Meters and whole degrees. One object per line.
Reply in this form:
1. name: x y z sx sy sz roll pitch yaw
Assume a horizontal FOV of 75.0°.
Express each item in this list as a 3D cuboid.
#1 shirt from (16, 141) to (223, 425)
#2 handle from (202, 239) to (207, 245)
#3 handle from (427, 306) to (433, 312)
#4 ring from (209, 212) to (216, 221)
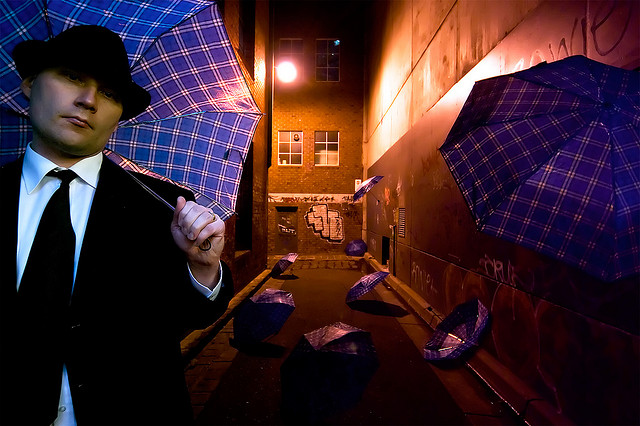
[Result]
1. shirt: -1.874 0.507 3.309 1.185 1.828 0.355 0 -4 -12
2. handle: -0.766 0.190 2.746 0.033 0.014 0.047 6 4 -21
3. handle: 1.628 1.413 6.196 0.057 0.036 0.182 2 9 5
4. ring: -0.696 0.020 2.695 0.026 0.057 0.027 1 9 0
